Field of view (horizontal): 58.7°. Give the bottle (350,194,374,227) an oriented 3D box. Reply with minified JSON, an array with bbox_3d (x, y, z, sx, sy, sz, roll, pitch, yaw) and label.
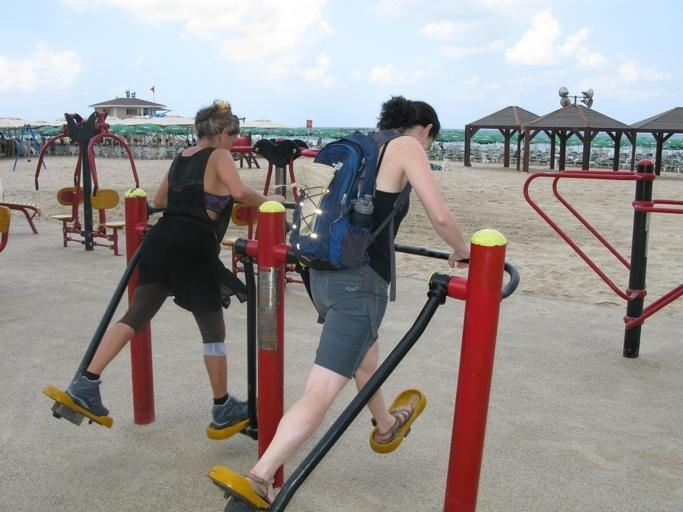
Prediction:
[{"bbox_3d":[0.097,-0.236,2.659,0.100,0.104,0.175,-11,-19,-1],"label":"bottle"}]

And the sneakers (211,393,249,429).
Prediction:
[{"bbox_3d":[-0.589,0.846,3.361,0.115,0.148,0.250,5,8,44],"label":"sneakers"}]

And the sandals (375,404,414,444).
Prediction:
[{"bbox_3d":[0.302,0.909,3.334,0.120,0.091,0.245,29,64,35],"label":"sandals"}]

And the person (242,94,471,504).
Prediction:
[{"bbox_3d":[0.128,0.189,2.787,0.831,1.866,1.168,6,11,29],"label":"person"}]
